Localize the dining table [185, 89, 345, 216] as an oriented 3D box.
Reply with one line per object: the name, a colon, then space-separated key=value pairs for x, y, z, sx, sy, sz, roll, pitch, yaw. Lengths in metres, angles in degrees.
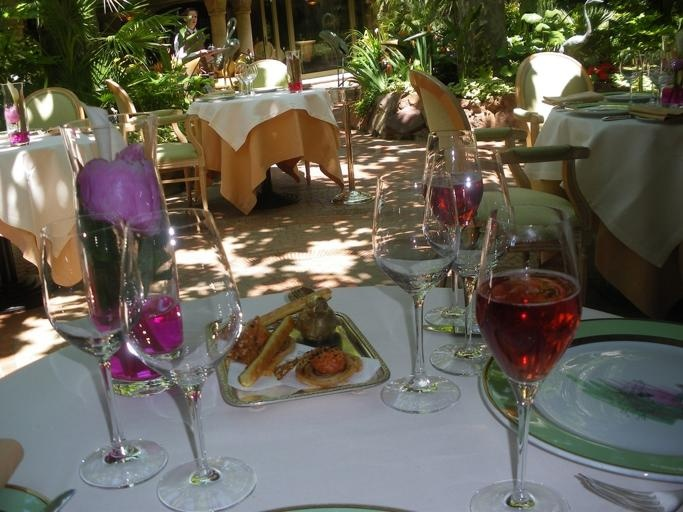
dining table: x=-0.631 y=-1.051 z=4.551 sx=1.074 sy=0.846 sz=1.133 roll=6 pitch=27 yaw=16

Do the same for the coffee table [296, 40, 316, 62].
coffee table: x=-0.929 y=-5.519 z=14.058 sx=0.535 sy=0.557 sz=0.387 roll=-5 pitch=19 yaw=-5

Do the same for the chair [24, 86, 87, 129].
chair: x=-2.370 y=-1.226 z=4.330 sx=0.432 sy=0.310 sz=0.286 roll=4 pitch=21 yaw=19
